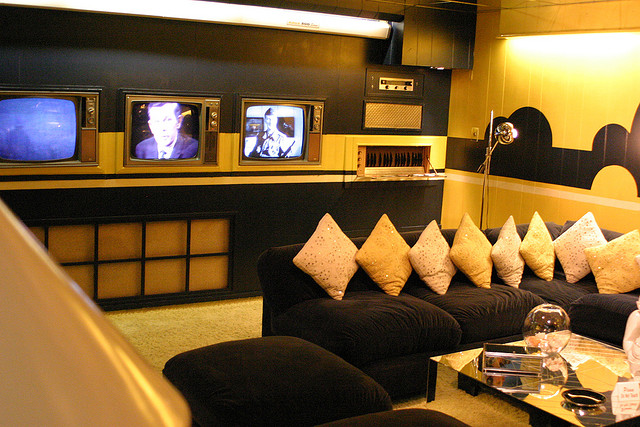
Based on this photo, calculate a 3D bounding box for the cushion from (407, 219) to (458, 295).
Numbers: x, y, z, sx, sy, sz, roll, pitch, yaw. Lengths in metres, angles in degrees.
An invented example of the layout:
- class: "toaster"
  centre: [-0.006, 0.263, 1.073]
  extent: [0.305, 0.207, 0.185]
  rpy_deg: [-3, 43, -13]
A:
- class: "cushion"
  centre: [0.962, 0.389, 4.001]
  extent: [0.177, 0.567, 0.540]
  rpy_deg: [-20, 13, 35]

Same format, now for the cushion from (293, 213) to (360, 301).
- class: "cushion"
  centre: [0.033, 0.068, 3.997]
  extent: [0.849, 0.228, 0.787]
  rpy_deg: [36, -17, 8]

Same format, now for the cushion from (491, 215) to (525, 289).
- class: "cushion"
  centre: [1.722, 0.380, 4.343]
  extent: [0.355, 0.560, 0.647]
  rpy_deg: [5, 6, 28]

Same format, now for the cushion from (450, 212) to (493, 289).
- class: "cushion"
  centre: [1.323, 0.333, 4.172]
  extent: [0.347, 0.652, 0.397]
  rpy_deg: [2, 13, -12]

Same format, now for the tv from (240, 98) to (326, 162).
- class: "tv"
  centre: [-0.534, -0.915, 5.289]
  extent: [1.016, 0.707, 0.577]
  rpy_deg: [-3, 11, -30]

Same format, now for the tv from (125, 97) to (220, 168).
- class: "tv"
  centre: [-1.482, -0.765, 4.737]
  extent: [1.100, 0.781, 0.613]
  rpy_deg: [-1, 3, -30]

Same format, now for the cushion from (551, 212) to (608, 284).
- class: "cushion"
  centre: [2.397, 0.325, 4.446]
  extent: [0.182, 0.560, 0.603]
  rpy_deg: [24, 36, -35]

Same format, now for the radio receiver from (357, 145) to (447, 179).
- class: "radio receiver"
  centre: [0.920, -0.647, 5.894]
  extent: [1.349, 0.401, 0.423]
  rpy_deg: [-2, 11, -31]
